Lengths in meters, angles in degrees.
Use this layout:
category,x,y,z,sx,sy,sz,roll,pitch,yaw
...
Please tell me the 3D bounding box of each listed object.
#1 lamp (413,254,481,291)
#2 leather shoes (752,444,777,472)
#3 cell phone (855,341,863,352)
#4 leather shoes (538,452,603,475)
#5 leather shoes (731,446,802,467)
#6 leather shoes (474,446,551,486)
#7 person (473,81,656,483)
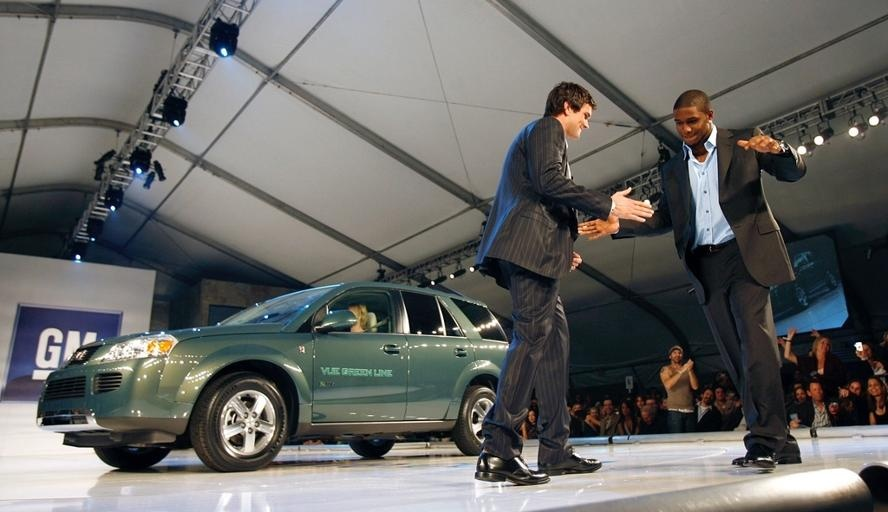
category,x,y,z,sx,sy,sz,roll,pitch,yaw
lamp,-0.012,0.602,14.930,2.001,0.861,0.473,-21,-27,17
leather shoes,2.802,1.776,4.860,0.220,0.181,0.399,-11,-18,28
cell phone,7.984,1.760,10.585,0.147,0.197,0.074,2,-21,33
leather shoes,1.154,1.897,5.158,0.602,0.251,0.218,-2,-9,-5
leather shoes,2.916,1.773,4.915,0.549,0.149,0.223,5,-19,-9
leather shoes,0.610,1.847,4.764,0.676,0.276,0.245,4,-18,-4
person,0.918,0.182,5.018,1.383,3.550,0.923,-13,-20,33
